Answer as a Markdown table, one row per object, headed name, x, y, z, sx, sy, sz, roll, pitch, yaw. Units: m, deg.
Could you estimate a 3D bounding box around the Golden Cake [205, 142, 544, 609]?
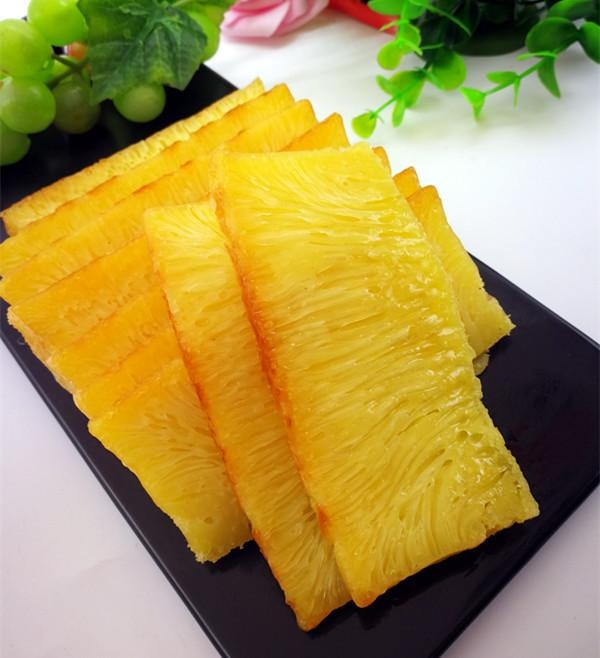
| name | x | y | z | sx | sy | sz | roll | pitch | yaw |
| --- | --- | --- | --- | --- | --- | --- | --- | --- | --- |
| Golden Cake | 0.025 | 0.046 | 0.687 | 0.299 | 0.455 | 0.087 | -19 | -2 | -31 |
